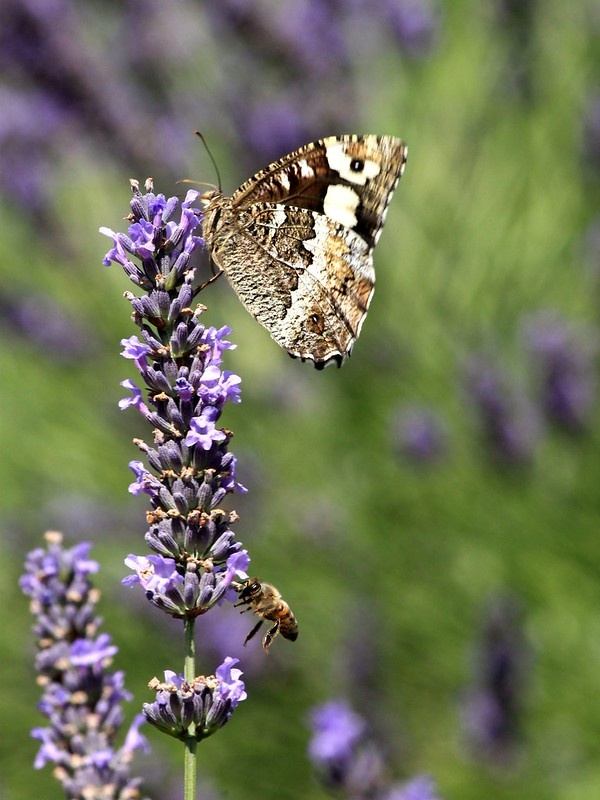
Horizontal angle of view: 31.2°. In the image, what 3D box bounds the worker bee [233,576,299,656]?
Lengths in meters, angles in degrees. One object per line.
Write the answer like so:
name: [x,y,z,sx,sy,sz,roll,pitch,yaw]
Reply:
worker bee: [-0.074,0.467,2.354,0.194,0.121,0.112,40,-109,-16]
